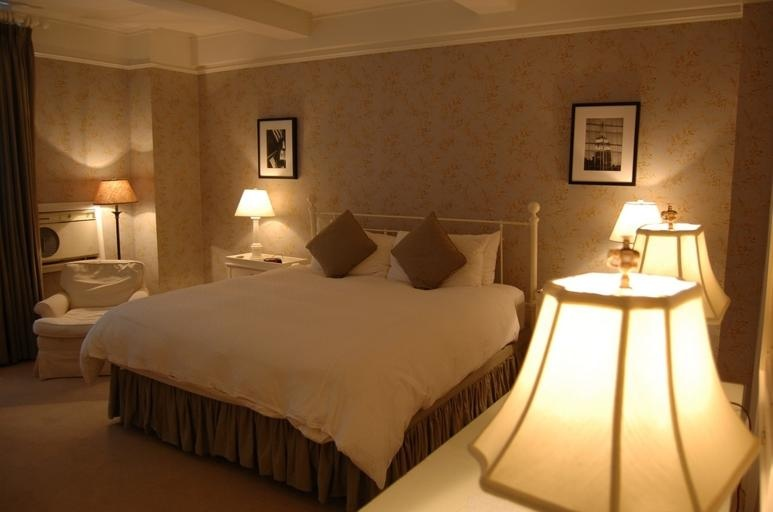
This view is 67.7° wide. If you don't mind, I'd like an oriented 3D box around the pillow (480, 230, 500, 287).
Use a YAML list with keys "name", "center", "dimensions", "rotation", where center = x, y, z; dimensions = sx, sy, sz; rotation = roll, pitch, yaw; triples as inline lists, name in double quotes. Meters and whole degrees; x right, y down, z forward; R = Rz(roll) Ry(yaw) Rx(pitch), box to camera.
- name: "pillow"
  center: [0.943, 0.014, 5.200]
  dimensions: [0.114, 0.399, 0.397]
  rotation: [6, 7, 40]

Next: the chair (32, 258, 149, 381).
- name: "chair"
  center: [-2.887, 0.579, 5.629]
  dimensions: [0.876, 1.075, 0.952]
  rotation: [2, 1, -13]

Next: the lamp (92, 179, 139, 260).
- name: "lamp"
  center: [-3.129, -0.362, 6.682]
  dimensions: [0.443, 1.085, 0.451]
  rotation: [9, 23, 4]

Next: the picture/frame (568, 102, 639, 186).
- name: "picture/frame"
  center: [1.894, -0.968, 4.932]
  dimensions: [0.647, 0.894, 0.032]
  rotation: [5, 8, 32]

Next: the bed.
- name: "bed"
  center: [-0.715, 0.486, 4.003]
  dimensions: [1.911, 0.555, 1.948]
  rotation: [6, 11, 35]

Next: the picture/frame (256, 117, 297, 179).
- name: "picture/frame"
  center: [-1.242, -1.243, 6.572]
  dimensions: [0.653, 0.809, 0.062]
  rotation: [4, 7, 31]
